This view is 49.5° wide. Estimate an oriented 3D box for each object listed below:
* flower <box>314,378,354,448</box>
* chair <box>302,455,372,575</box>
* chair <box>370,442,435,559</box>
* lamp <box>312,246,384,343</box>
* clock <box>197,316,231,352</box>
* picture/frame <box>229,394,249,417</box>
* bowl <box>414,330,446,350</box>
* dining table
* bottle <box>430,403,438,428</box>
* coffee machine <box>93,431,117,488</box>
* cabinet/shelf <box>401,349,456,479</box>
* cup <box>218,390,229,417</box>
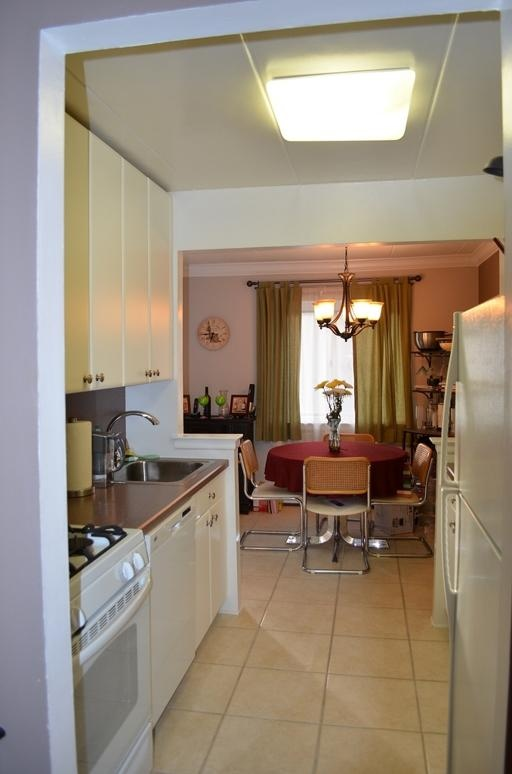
[{"bbox_3d":[0.649,0.243,4.566,0.263,0.543,0.258,2,3,9],"label":"flower"},{"bbox_3d":[0.593,0.875,4.116,0.493,0.825,0.814,0,0,10],"label":"chair"},{"bbox_3d":[1.160,0.844,4.504,0.477,0.844,1.170,0,0,13],"label":"chair"},{"bbox_3d":[0.745,-0.745,4.332,0.472,0.738,0.626,0,0,22],"label":"lamp"},{"bbox_3d":[-0.485,-0.618,6.273,0.368,0.354,0.089,0,0,19],"label":"clock"},{"bbox_3d":[-0.185,0.193,6.068,0.226,0.297,0.031,-1,-35,4],"label":"picture/frame"},{"bbox_3d":[1.691,-0.451,5.439,0.195,0.156,0.211,0,3,0],"label":"bowl"},{"bbox_3d":[0.650,0.863,4.576,1.094,0.948,1.243,-3,11,-2],"label":"dining table"},{"bbox_3d":[1.785,0.281,5.548,0.053,0.228,0.178,0,0,5],"label":"bottle"},{"bbox_3d":[-0.673,0.314,2.478,0.181,0.228,0.121,-3,-5,36],"label":"coffee machine"},{"bbox_3d":[1.425,0.210,4.646,0.332,1.459,1.167,1,1,20],"label":"cabinet/shelf"},{"bbox_3d":[-0.370,0.164,6.058,0.128,0.261,0.462,0,0,-3],"label":"cup"}]
